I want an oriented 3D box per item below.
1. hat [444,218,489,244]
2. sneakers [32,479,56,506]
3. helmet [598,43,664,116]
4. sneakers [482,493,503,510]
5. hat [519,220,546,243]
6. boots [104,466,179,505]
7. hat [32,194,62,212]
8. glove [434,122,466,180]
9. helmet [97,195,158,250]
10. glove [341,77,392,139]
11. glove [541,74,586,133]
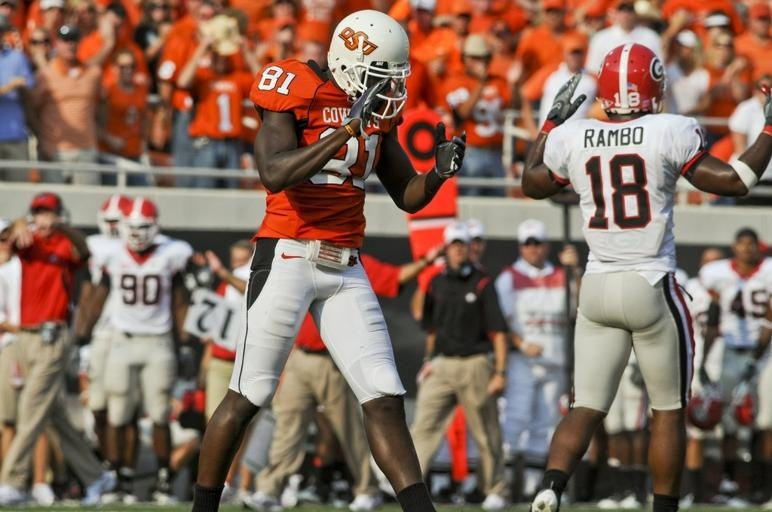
[{"bbox_3d":[0.680,-0.221,12.200,0.316,0.176,0.514,3,-1,16],"label":"hat"},{"bbox_3d":[-2.480,1.728,10.024,0.126,0.180,0.057,-29,-4,-33],"label":"sneakers"},{"bbox_3d":[1.711,-1.227,9.331,0.371,0.425,0.509,5,25,22],"label":"helmet"},{"bbox_3d":[0.915,2.084,11.635,0.152,0.140,0.113,-2,-9,3],"label":"sneakers"},{"bbox_3d":[1.319,-0.218,12.369,0.231,0.165,0.193,4,-1,4],"label":"hat"},{"bbox_3d":[-1.922,1.852,10.972,0.310,0.288,1.216,3,-1,13],"label":"boots"},{"bbox_3d":[-2.631,-0.440,10.815,0.185,0.048,0.168,7,19,14],"label":"hat"},{"bbox_3d":[0.457,-0.687,8.852,0.245,0.335,0.144,7,4,45],"label":"glove"},{"bbox_3d":[-2.112,-0.264,11.411,0.373,0.437,0.494,6,-15,-4],"label":"helmet"},{"bbox_3d":[-0.118,-0.939,8.606,0.158,0.124,0.483,0,34,23],"label":"glove"},{"bbox_3d":[1.223,-1.055,9.424,0.268,0.320,0.261,4,-1,-12],"label":"glove"}]
